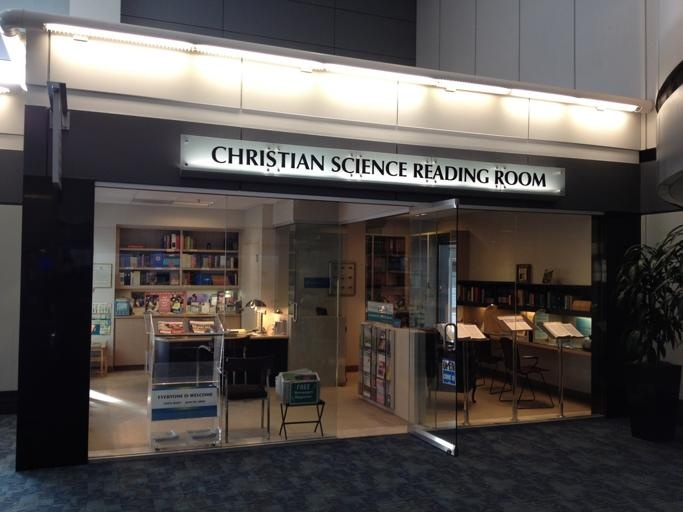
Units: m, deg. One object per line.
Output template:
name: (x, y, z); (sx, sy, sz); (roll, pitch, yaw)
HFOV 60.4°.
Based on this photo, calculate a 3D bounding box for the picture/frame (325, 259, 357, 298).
picture/frame: (-0.003, 0.304, 8.356); (0.053, 0.527, 0.631); (-3, -4, 40)

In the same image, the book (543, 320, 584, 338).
book: (3.438, 1.143, 9.120); (0.670, 0.267, 0.067); (1, 3, -9)

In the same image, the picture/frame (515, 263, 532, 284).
picture/frame: (2.795, 0.269, 9.072); (0.287, 0.387, 0.028); (1, -1, -16)

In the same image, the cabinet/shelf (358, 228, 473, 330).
cabinet/shelf: (1.158, 0.296, 9.789); (1.476, 1.534, 4.507); (1, 4, 2)

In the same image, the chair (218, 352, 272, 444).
chair: (-1.267, 1.874, 7.841); (0.593, 1.058, 0.704); (2, -2, -12)

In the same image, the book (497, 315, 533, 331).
book: (2.691, 1.040, 9.059); (0.368, 0.277, 0.137); (-8, -21, -9)

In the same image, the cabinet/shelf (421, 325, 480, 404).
cabinet/shelf: (1.380, 1.640, 8.080); (0.659, 1.279, 0.686); (8, -29, -4)

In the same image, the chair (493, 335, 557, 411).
chair: (2.970, 1.836, 9.163); (1.019, 1.584, 0.929); (0, -4, 1)

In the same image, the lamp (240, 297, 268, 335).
lamp: (-1.218, 0.746, 7.713); (0.404, 0.616, 0.266); (1, -2, 3)
